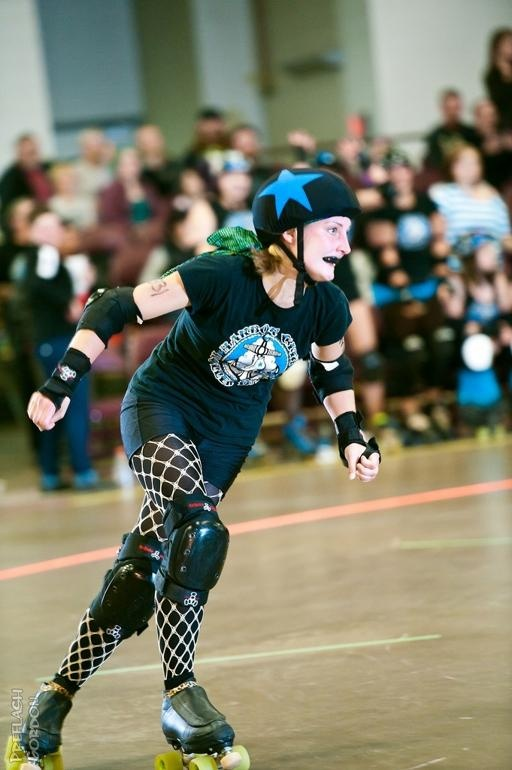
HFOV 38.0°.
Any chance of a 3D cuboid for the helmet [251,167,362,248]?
[{"bbox_3d":[0.108,-0.357,1.444,0.173,0.149,0.150,-19,28,-40],"label":"helmet"}]
